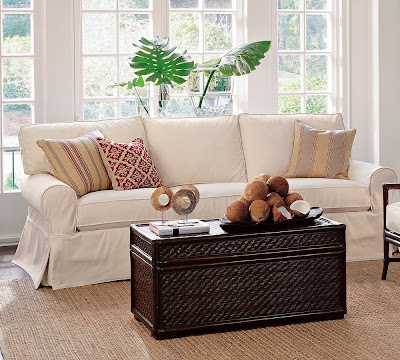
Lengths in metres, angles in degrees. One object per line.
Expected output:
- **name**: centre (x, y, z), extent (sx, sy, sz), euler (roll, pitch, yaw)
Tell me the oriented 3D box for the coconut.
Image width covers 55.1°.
- **coconut**: centre (0.315, 0.084, 1.762), extent (0.382, 0.215, 0.206), euler (-4, 5, -39)
